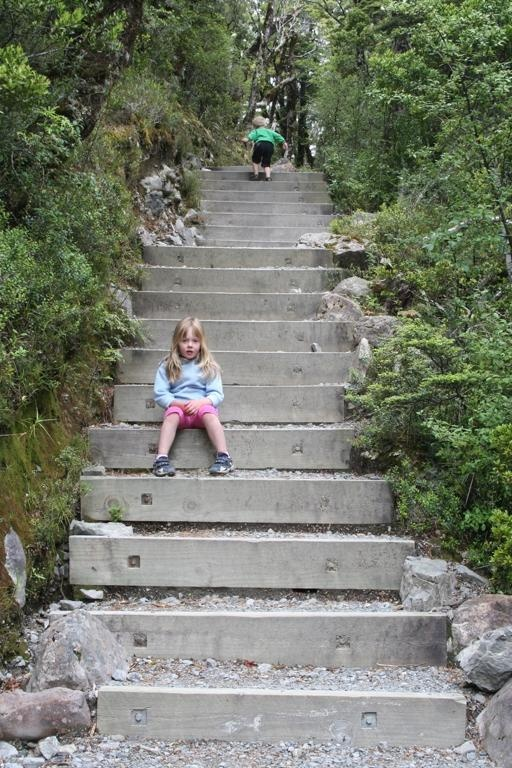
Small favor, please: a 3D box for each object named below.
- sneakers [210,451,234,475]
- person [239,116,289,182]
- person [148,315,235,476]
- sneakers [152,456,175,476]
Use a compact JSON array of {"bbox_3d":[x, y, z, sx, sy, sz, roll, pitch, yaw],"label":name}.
[{"bbox_3d":[-0.164,0.392,4.123,0.097,0.141,0.156,0,20,3],"label":"sneakers"},{"bbox_3d":[0.075,-2.696,9.929,0.546,0.937,0.239,5,-24,-2],"label":"person"},{"bbox_3d":[-0.322,0.027,4.295,0.355,0.670,0.782,-1,15,-6],"label":"person"},{"bbox_3d":[-0.424,0.386,4.011,0.096,0.076,0.128,-4,20,-8],"label":"sneakers"}]
